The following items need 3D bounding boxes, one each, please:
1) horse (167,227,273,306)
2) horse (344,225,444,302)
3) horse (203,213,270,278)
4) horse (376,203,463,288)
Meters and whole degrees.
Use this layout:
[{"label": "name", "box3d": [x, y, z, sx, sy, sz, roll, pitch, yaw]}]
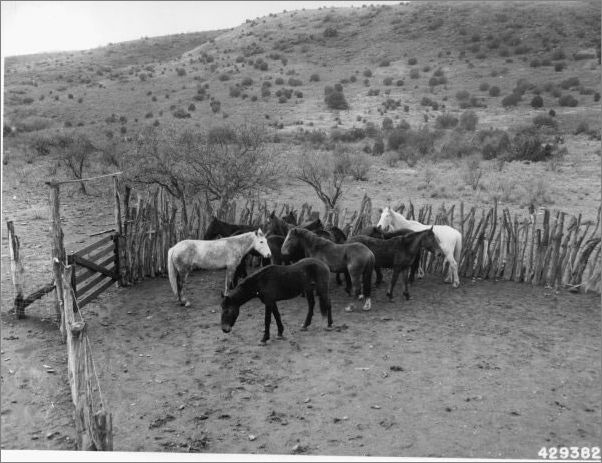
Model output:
[{"label": "horse", "box3d": [-2.155, 1.003, 13.980, 2.745, 1.956, 0.693, -2, 1, -7]}, {"label": "horse", "box3d": [2.451, 0.859, 13.925, 2.735, 1.966, 0.777, -2, -4, 43]}, {"label": "horse", "box3d": [-1.857, 0.497, 15.554, 1.630, 1.909, 1.661, 10, 8, 42]}, {"label": "horse", "box3d": [3.370, 0.502, 14.781, 2.643, 1.914, 0.656, 10, -22, -19]}]
